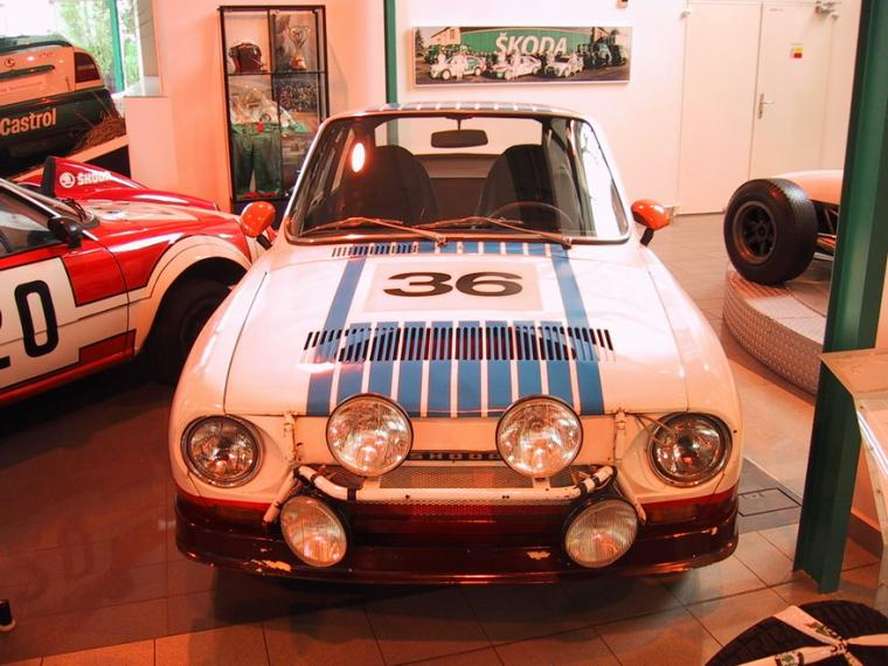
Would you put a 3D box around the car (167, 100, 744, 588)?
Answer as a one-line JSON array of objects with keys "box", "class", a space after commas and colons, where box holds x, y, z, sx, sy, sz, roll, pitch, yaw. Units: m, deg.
[{"box": [0.095, -0.138, 2.847, 1.346, 1.059, 2.342, 0, 26, 3], "class": "car"}]
